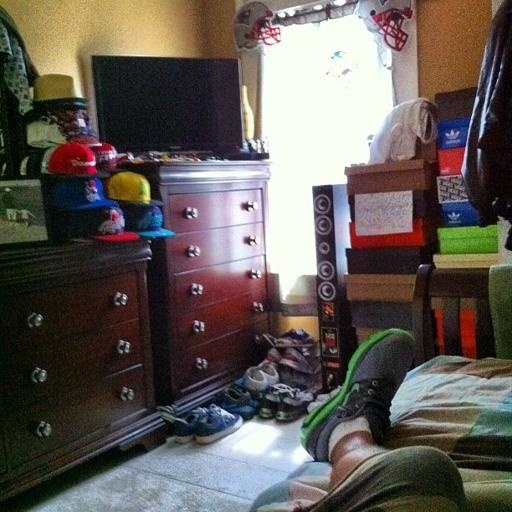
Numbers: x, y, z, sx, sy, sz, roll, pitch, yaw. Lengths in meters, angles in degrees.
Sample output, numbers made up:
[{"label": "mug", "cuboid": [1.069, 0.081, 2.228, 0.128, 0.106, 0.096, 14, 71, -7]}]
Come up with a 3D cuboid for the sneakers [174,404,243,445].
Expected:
[{"label": "sneakers", "cuboid": [-0.225, 0.769, 2.120, 0.139, 0.084, 0.241, 5, 7, 38]}]

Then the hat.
[{"label": "hat", "cuboid": [-0.787, -0.444, 1.951, 0.799, 0.405, 0.494, 33, 33, 28]}]

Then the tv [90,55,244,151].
[{"label": "tv", "cuboid": [-0.527, -0.868, 2.550, 0.874, 0.466, 0.085, -5, 15, -23]}]
